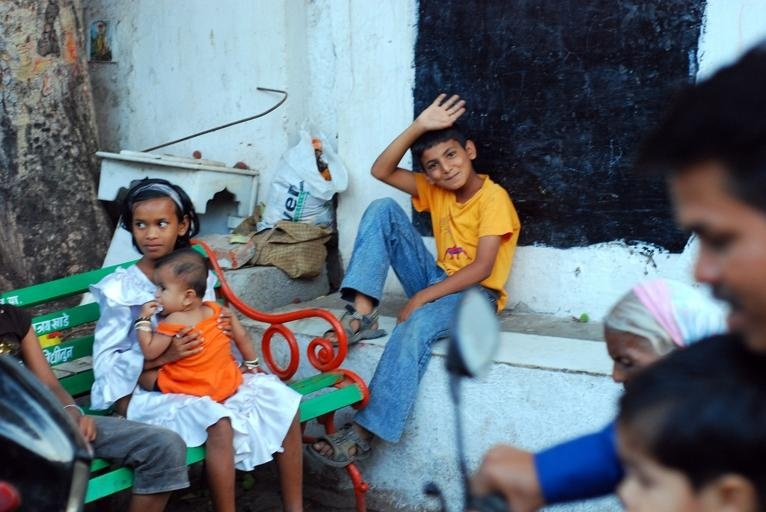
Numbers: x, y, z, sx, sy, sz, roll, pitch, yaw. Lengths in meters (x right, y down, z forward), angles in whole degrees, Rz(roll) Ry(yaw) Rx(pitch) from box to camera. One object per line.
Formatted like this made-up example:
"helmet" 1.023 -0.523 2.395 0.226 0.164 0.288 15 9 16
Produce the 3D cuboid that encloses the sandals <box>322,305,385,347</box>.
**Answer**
"sandals" -0.155 0.376 3.420 0.189 0.122 0.295 11 19 34

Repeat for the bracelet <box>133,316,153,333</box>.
"bracelet" -0.998 0.284 2.732 0.064 0.058 0.051 -6 2 -9

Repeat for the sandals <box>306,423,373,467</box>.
"sandals" -0.195 0.893 3.128 0.309 0.140 0.155 -5 47 -46

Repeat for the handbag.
"handbag" -0.598 -0.094 4.205 0.448 0.183 0.436 8 17 16

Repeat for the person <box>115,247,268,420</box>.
"person" -0.804 0.265 3.024 0.619 0.748 0.570 7 19 12

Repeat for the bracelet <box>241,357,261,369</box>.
"bracelet" -0.628 0.506 3.107 0.063 0.034 0.052 -2 -10 17
